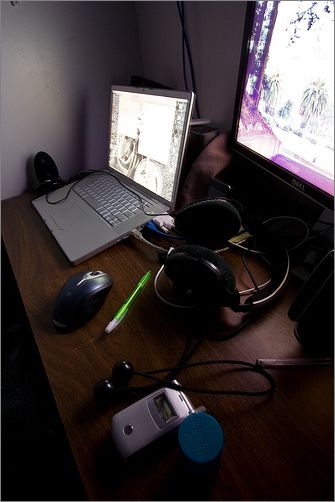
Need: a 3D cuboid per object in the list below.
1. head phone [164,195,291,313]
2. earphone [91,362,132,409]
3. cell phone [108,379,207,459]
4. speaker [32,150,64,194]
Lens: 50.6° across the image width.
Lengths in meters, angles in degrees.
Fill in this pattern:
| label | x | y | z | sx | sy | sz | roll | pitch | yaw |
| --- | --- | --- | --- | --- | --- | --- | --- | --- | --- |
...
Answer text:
| label | x | y | z | sx | sy | sz | roll | pitch | yaw |
| --- | --- | --- | --- | --- | --- | --- | --- | --- | --- |
| head phone | 0.089 | -0.022 | 0.629 | 0.238 | 0.172 | 0.225 | -9 | 28 | -27 |
| earphone | -0.079 | 0.188 | 0.536 | 0.065 | 0.042 | 0.066 | -12 | 26 | -33 |
| cell phone | -0.020 | 0.212 | 0.448 | 0.104 | 0.028 | 0.054 | -10 | 38 | -29 |
| speaker | -0.349 | -0.228 | 1.024 | 0.095 | 0.110 | 0.105 | -35 | 25 | -25 |
